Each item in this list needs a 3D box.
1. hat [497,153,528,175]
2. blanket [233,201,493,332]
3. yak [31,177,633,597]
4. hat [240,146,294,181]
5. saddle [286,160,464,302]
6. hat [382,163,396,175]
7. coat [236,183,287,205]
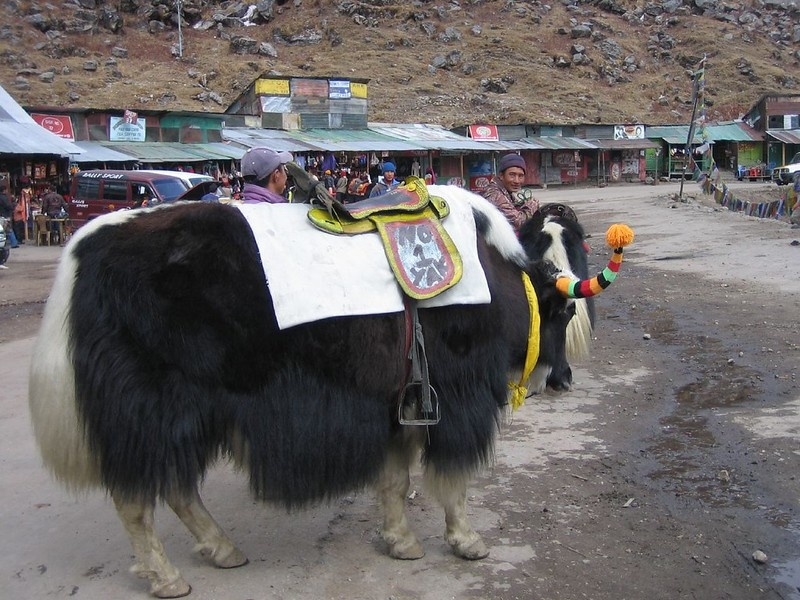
[{"bbox_3d":[0.929,-1.176,7.915,0.176,0.146,0.190,0,0,-6],"label":"hat"},{"bbox_3d":[-0.217,-0.195,5.212,1.000,0.378,0.809,-4,36,-21],"label":"blanket"},{"bbox_3d":[-0.388,0.602,5.406,2.133,1.526,1.081,-3,8,-20],"label":"yak"},{"bbox_3d":[-0.850,-0.867,5.917,0.286,0.165,0.195,-34,36,-21],"label":"hat"},{"bbox_3d":[-0.066,-0.336,5.255,0.733,0.491,0.881,-16,44,-26],"label":"saddle"},{"bbox_3d":[-0.138,-1.610,11.442,0.116,0.099,0.130,2,6,-7],"label":"hat"},{"bbox_3d":[-0.852,-0.635,5.683,0.214,0.138,0.175,-1,7,0],"label":"coat"}]
